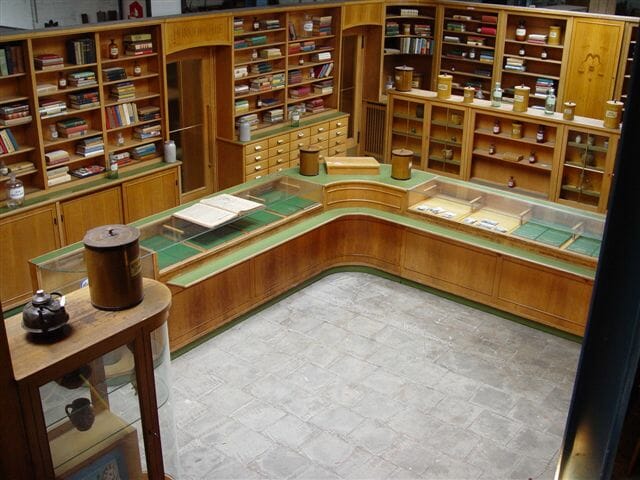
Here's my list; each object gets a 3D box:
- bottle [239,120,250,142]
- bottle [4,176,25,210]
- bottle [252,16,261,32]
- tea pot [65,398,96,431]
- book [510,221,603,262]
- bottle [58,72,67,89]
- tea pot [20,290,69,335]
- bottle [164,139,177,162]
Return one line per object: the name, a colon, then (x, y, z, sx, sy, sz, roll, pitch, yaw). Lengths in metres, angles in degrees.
bottle: (-1.419, -2.047, 8.552, 0.207, 0.354, 0.156, -6, 22, -12)
bottle: (-4.217, -0.664, 6.195, 0.313, 0.401, 0.229, 19, 29, 40)
bottle: (-1.205, -4.105, 8.567, 0.141, 0.250, 0.299, -3, 21, -7)
tea pot: (-1.367, 0.997, 2.524, 0.176, 0.144, 0.107, -2, 3, -5)
book: (3.187, -0.044, 6.065, 1.027, 0.281, 0.497, 12, 23, 31)
bottle: (-3.748, -2.324, 6.572, 0.144, 0.224, 0.244, -11, 23, -24)
tea pot: (-1.478, 0.351, 2.418, 0.235, 0.153, 0.222, 3, 27, -1)
bottle: (-2.579, -1.538, 7.809, 0.223, 0.360, 0.233, -1, 21, 0)
